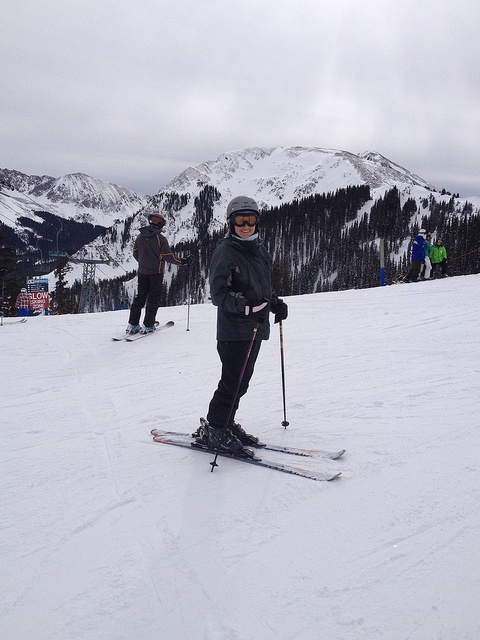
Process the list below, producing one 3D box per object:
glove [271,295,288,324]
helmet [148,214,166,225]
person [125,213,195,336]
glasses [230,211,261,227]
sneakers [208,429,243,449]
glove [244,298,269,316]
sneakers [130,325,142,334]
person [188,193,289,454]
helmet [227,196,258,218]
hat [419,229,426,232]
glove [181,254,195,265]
[{"bbox_3d":[0.329,-0.085,4.918,0.082,0.201,0.151,5,22,12],"label":"glove"},{"bbox_3d":[-1.416,-1.724,10.096,0.251,0.200,0.449,-5,9,-10],"label":"helmet"},{"bbox_3d":[-1.540,-0.748,10.212,0.742,2.137,0.994,-11,11,-40],"label":"person"},{"bbox_3d":[0.053,-0.759,4.501,0.248,0.109,0.095,-9,10,-28],"label":"glasses"},{"bbox_3d":[-0.116,0.940,4.696,0.302,0.147,0.121,9,7,4],"label":"sneakers"},{"bbox_3d":[0.127,-0.091,4.352,0.205,0.101,0.102,-8,10,-24],"label":"glove"},{"bbox_3d":[-1.861,0.162,10.546,0.135,0.171,0.389,-3,1,2],"label":"sneakers"},{"bbox_3d":[-0.048,0.064,4.583,0.682,1.998,0.576,-4,9,-6],"label":"person"},{"bbox_3d":[0.017,-0.854,4.486,0.152,0.200,0.206,-4,1,-12],"label":"helmet"},{"bbox_3d":[5.402,-2.619,17.504,0.155,0.113,0.162,-2,4,3],"label":"hat"},{"bbox_3d":[-0.874,-1.005,9.816,0.245,0.102,0.256,10,10,4],"label":"glove"}]
